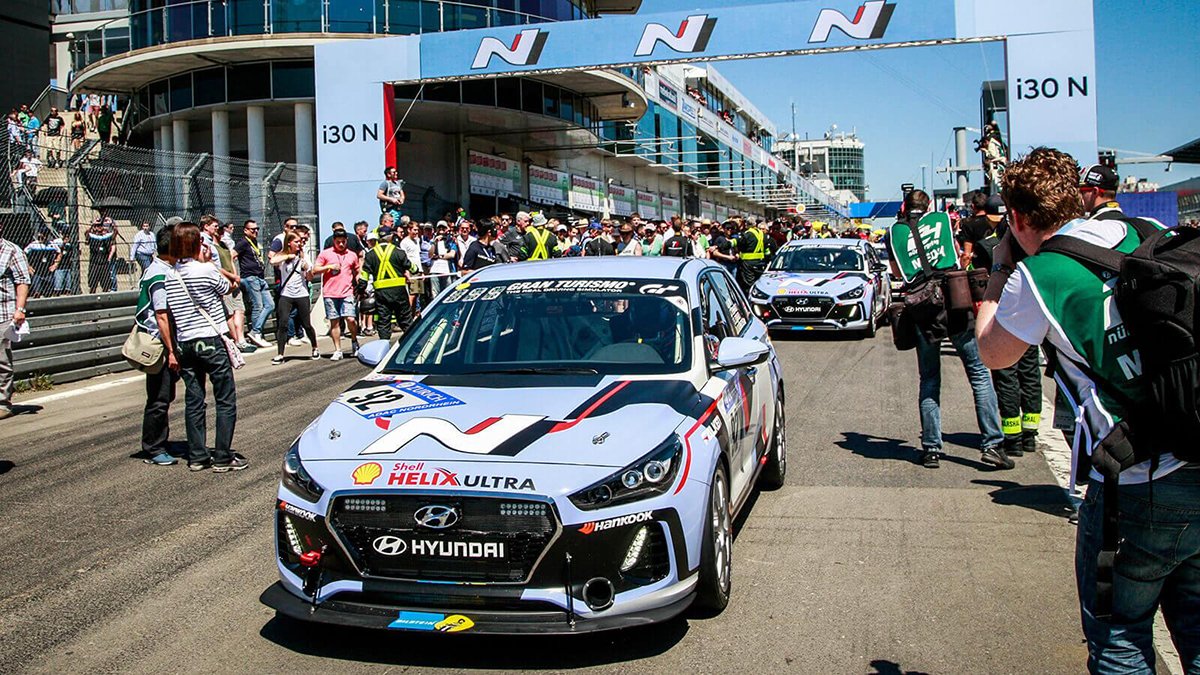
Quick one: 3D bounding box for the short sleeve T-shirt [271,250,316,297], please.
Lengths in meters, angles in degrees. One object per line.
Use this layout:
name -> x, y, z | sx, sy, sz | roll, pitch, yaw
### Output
short sleeve T-shirt -> -5.860, -1.193, 17.268 | 0.849, 0.836, 0.455 | 0, 7, 7

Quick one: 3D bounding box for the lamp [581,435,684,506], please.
lamp -> 0.209, 0.983, 6.512 | 0.575, 0.192, 0.404 | -25, -7, -13

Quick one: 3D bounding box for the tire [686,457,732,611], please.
tire -> 0.796, 1.507, 6.851 | 0.380, 1.182, 1.189 | 0, -3, 12

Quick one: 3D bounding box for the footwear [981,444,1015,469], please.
footwear -> 4.241, 1.300, 9.808 | 0.430, 0.198, 0.169 | 11, 40, -6

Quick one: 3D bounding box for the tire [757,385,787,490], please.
tire -> 1.684, 1.013, 9.039 | 0.314, 0.984, 0.993 | -4, 7, 13

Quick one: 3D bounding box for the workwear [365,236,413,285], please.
workwear -> -3.822, -1.222, 16.355 | 0.927, 0.935, 0.512 | -10, -1, -11

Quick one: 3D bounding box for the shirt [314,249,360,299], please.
shirt -> -4.878, -1.197, 16.889 | 1.101, 1.061, 0.595 | 0, -3, -8

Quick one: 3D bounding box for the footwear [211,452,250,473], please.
footwear -> -4.133, 1.398, 10.166 | 0.427, 0.194, 0.175 | -5, 12, -23

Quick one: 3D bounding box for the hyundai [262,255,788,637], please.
hyundai -> -0.509, 0.876, 7.199 | 4.280, 2.444, 2.649 | -8, 15, -26

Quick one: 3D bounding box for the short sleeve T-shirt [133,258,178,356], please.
short sleeve T-shirt -> -5.049, -0.469, 10.255 | 0.432, 0.879, 0.884 | -2, 10, -36

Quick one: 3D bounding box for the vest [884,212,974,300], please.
vest -> 3.465, -0.977, 10.154 | 0.683, 1.000, 0.904 | -25, 5, 12
